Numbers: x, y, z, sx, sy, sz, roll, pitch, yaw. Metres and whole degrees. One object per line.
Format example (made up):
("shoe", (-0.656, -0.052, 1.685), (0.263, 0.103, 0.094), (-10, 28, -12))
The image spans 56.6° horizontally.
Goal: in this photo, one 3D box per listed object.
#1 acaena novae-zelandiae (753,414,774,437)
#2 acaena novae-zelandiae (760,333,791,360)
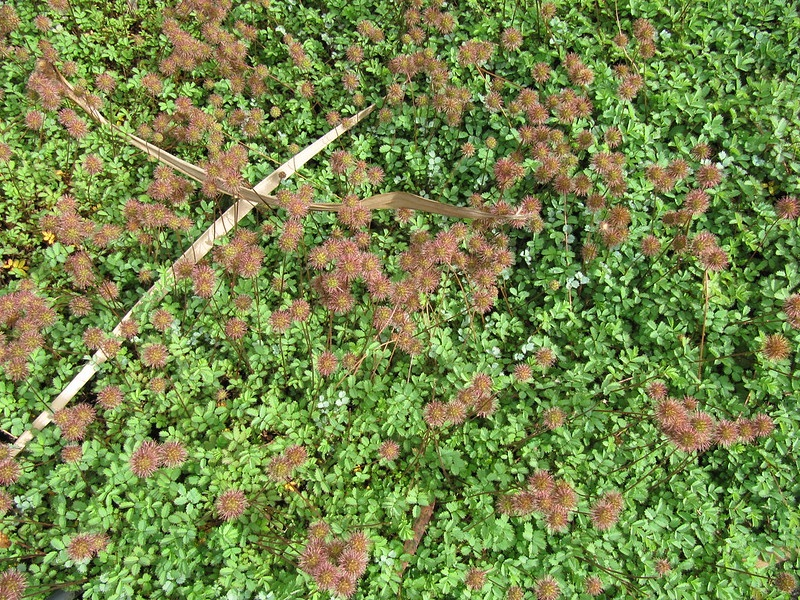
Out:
("acaena novae-zelandiae", (3.045, 1.054, 6.345), (0.165, 0.127, 0.181), (7, 35, -16))
("acaena novae-zelandiae", (3.219, 0.392, 6.376), (0.202, 0.118, 0.225), (23, 102, 19))
